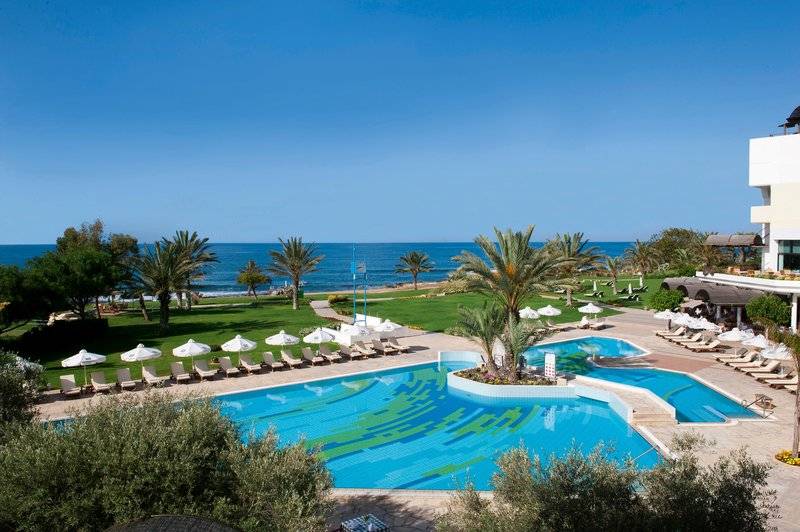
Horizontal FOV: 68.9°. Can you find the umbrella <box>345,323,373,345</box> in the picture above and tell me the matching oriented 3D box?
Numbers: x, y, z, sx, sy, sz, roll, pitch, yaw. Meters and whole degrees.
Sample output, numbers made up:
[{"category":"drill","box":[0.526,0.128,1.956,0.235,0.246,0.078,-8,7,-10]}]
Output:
[{"category":"umbrella","box":[-2.186,3.640,31.418,1.078,0.545,1.112,8,7,-6]}]

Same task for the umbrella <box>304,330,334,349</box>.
[{"category":"umbrella","box":[-4.286,4.068,30.473,1.276,0.654,1.228,-8,7,-39]}]

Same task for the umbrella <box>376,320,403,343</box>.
[{"category":"umbrella","box":[-0.611,3.711,32.832,1.248,1.148,1.309,9,18,16]}]

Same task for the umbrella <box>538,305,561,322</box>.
[{"category":"umbrella","box":[10.009,3.186,39.399,1.439,1.182,1.472,0,4,16]}]

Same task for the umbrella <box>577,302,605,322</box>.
[{"category":"umbrella","box":[13.358,3.536,41.380,1.863,1.436,1.850,-2,7,-13]}]

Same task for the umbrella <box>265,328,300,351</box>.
[{"category":"umbrella","box":[-5.930,3.707,29.573,1.474,0.775,1.466,0,-3,-3]}]

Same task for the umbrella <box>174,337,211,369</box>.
[{"category":"umbrella","box":[-9.532,3.833,27.124,1.687,0.976,1.650,-6,-2,-13]}]

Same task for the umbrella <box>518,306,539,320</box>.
[{"category":"umbrella","box":[8.193,3.077,37.457,1.350,0.571,1.351,0,-1,-6]}]

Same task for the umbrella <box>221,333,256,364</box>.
[{"category":"umbrella","box":[-7.690,3.702,27.950,1.599,1.431,1.596,0,7,-3]}]
